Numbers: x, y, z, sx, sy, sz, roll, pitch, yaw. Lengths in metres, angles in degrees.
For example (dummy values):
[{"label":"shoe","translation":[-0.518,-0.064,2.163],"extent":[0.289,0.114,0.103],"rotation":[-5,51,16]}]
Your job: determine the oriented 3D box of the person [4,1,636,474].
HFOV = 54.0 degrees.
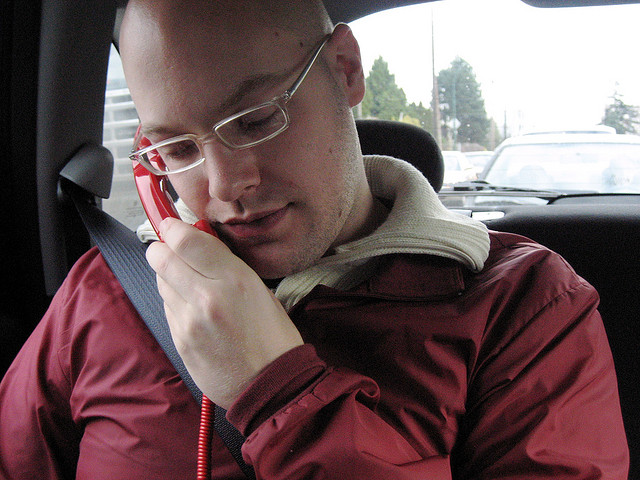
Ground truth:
[{"label":"person","translation":[-0.058,0.004,1.978],"extent":[1.927,1.479,0.925],"rotation":[1,16,15]}]
